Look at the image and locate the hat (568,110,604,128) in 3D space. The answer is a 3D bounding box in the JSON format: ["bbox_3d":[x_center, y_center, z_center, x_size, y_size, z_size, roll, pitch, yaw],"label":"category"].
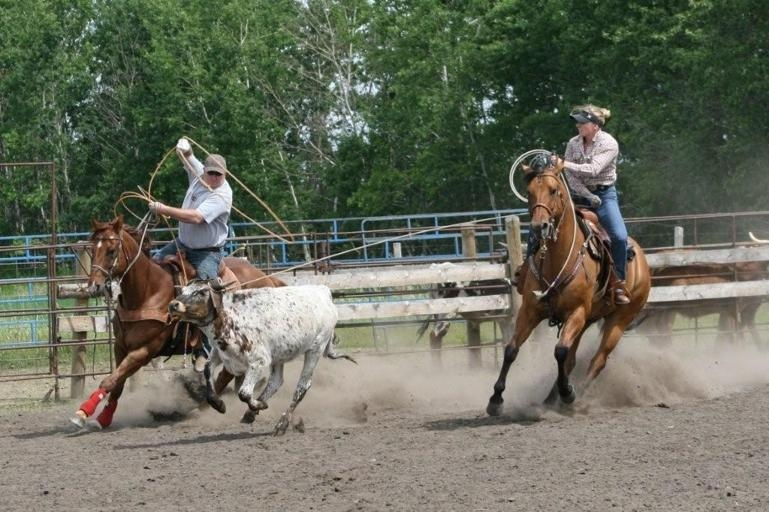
[{"bbox_3d":[4.175,-2.859,23.294,0.586,0.190,0.361,18,-2,-3],"label":"hat"}]

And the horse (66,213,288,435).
[{"bbox_3d":[-4.515,1.526,24.879,1.852,4.360,7.817,5,-1,22],"label":"horse"}]

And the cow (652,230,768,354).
[{"bbox_3d":[7.968,0.839,27.462,3.035,2.717,1.274,-3,2,-8],"label":"cow"}]

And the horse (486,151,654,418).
[{"bbox_3d":[3.687,0.475,23.212,3.298,5.312,1.301,-4,3,-37],"label":"horse"}]

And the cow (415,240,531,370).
[{"bbox_3d":[1.654,1.358,26.935,4.097,2.522,2.585,-6,-2,-8],"label":"cow"}]

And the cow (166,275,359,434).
[{"bbox_3d":[-2.399,2.068,22.743,1.214,2.964,5.062,1,-4,41],"label":"cow"}]
